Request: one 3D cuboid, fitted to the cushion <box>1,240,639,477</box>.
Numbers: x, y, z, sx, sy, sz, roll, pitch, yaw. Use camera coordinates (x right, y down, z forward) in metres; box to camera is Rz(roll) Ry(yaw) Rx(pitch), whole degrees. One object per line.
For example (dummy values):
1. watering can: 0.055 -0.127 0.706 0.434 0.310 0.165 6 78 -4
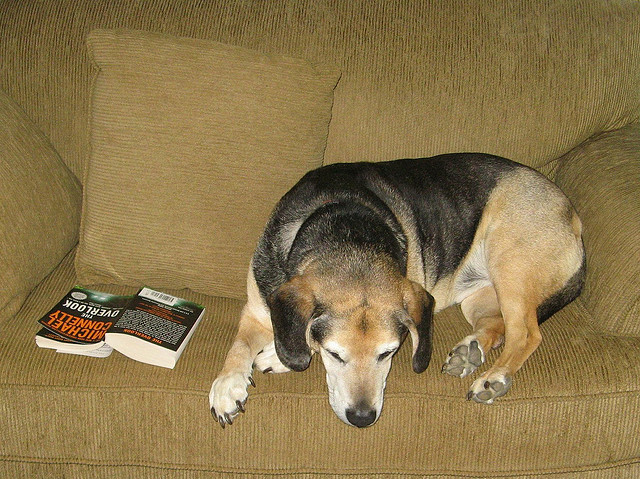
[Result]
1. cushion: 0.010 0.600 2.611 2.603 0.927 0.391 9 1 0
